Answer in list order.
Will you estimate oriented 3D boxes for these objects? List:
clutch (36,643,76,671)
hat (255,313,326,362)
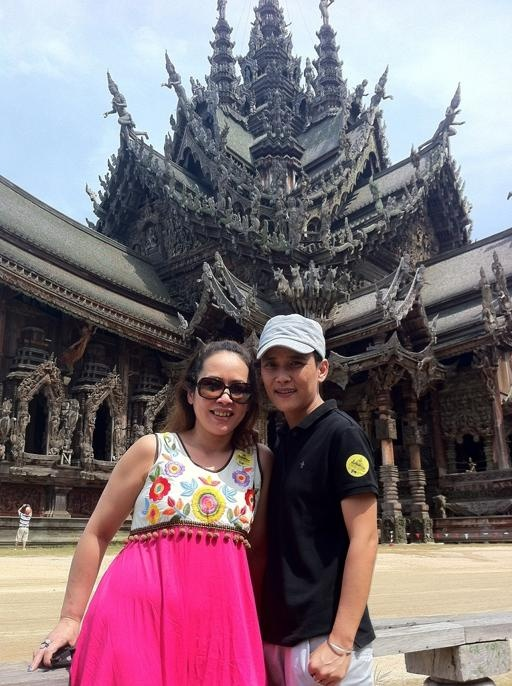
[{"bbox_3d":[-0.400,0.634,1.147,0.066,0.022,0.040,-15,-22,16],"label":"clutch"},{"bbox_3d":[0.079,-0.023,1.471,0.165,0.100,0.220,1,-1,21],"label":"hat"}]
